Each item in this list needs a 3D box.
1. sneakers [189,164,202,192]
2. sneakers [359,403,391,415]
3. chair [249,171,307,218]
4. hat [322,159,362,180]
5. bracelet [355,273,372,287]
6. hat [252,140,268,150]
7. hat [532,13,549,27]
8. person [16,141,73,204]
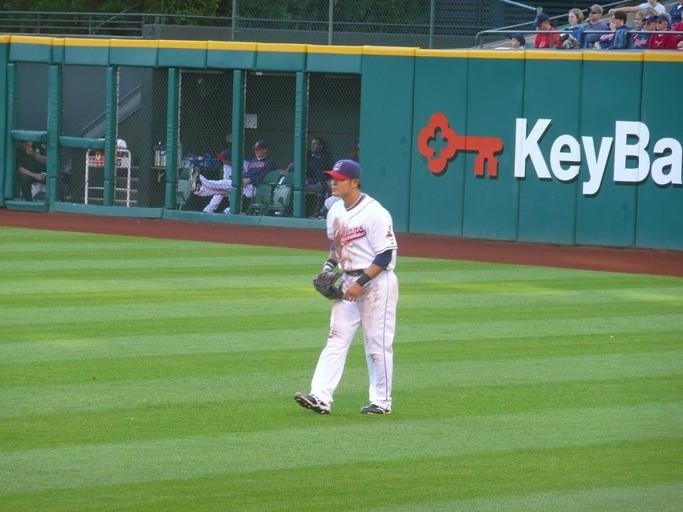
[{"bbox_3d":[-2.769,-1.473,28.138,0.144,0.495,0.188,0,8,-11],"label":"sneakers"},{"bbox_3d":[0.391,1.718,17.173,0.284,0.125,0.133,6,-3,0],"label":"sneakers"},{"bbox_3d":[-1.203,-1.113,27.920,0.970,0.955,0.761,3,4,35],"label":"chair"},{"bbox_3d":[0.038,-0.983,17.186,0.331,0.190,0.249,1,2,-5],"label":"hat"},{"bbox_3d":[0.251,0.252,16.979,0.121,0.086,0.161,20,-46,-22],"label":"bracelet"},{"bbox_3d":[-1.531,-2.080,28.065,0.157,0.125,0.231,6,9,35],"label":"hat"},{"bbox_3d":[3.583,-4.168,26.792,0.223,0.177,0.311,-29,25,-16],"label":"hat"},{"bbox_3d":[-6.045,-1.705,29.205,0.558,1.197,1.255,1,15,0],"label":"person"}]
